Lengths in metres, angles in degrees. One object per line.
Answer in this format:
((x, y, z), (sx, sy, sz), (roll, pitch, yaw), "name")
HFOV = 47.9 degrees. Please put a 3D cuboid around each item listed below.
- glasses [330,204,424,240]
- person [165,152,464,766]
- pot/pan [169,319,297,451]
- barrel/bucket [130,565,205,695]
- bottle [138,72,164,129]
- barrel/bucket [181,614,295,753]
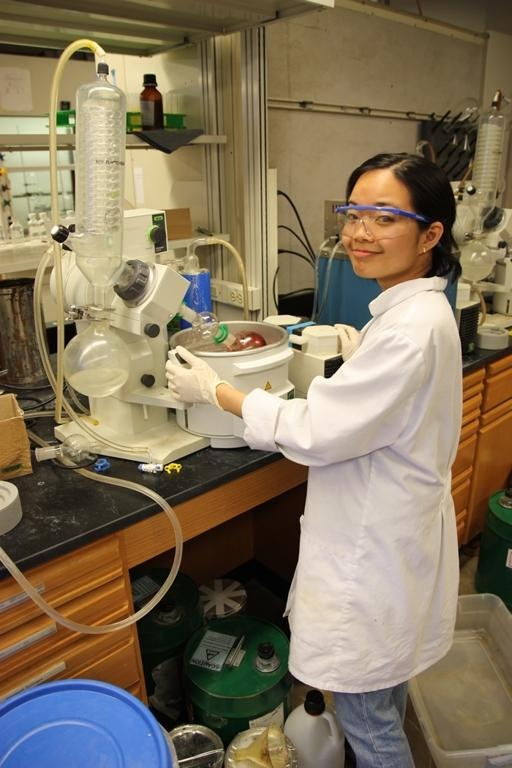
((0.239, -0.312, 1.090), (0.174, 0.060, 0.084), (3, 19, 16), "glasses")
((0.153, 0.199, 1.226), (0.542, 1.287, 0.419), (4, 19, 20), "person")
((-0.068, -0.023, 1.542), (0.323, 0.276, 0.332), (-21, 33, -37), "pot/pan")
((-0.258, 0.717, 1.774), (0.272, 0.299, 0.279), (-1, 16, 0), "barrel/bucket")
((-0.375, -0.998, 2.042), (0.084, 0.191, 0.173), (-6, 19, -9), "bottle")
((-0.006, 0.889, 1.687), (0.330, 0.359, 0.324), (-15, 26, 8), "barrel/bucket")
